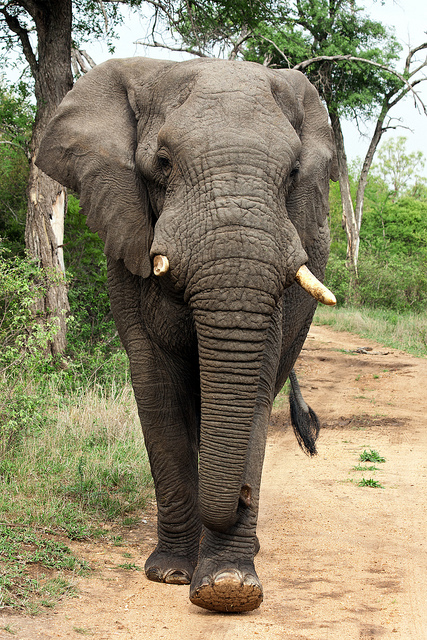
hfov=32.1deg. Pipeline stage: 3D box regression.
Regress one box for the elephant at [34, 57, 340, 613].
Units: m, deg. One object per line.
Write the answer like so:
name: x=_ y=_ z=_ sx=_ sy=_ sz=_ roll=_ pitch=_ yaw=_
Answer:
elephant: x=-0.161 y=-0.011 z=4.358 sx=1.577 sy=3.140 sz=2.033 roll=7 pitch=4 yaw=4
